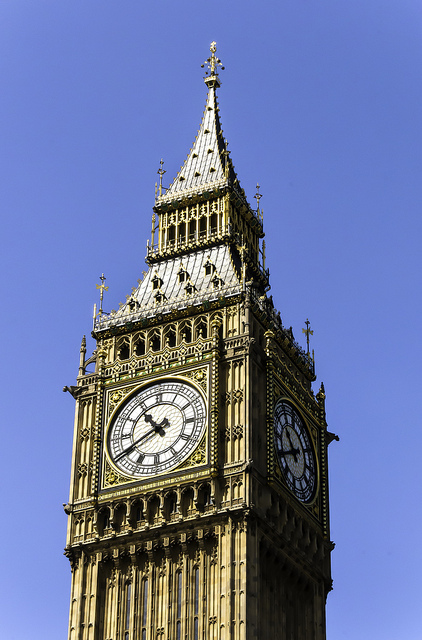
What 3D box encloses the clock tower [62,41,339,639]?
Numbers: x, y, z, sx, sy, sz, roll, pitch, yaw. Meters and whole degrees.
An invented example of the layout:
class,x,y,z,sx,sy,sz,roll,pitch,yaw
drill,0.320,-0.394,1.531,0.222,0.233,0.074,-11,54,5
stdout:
class,x,y,z,sx,sy,sz,roll,pitch,yaw
clock tower,-0.528,1.856,85.848,10.662,31.278,6.780,3,-35,-3
